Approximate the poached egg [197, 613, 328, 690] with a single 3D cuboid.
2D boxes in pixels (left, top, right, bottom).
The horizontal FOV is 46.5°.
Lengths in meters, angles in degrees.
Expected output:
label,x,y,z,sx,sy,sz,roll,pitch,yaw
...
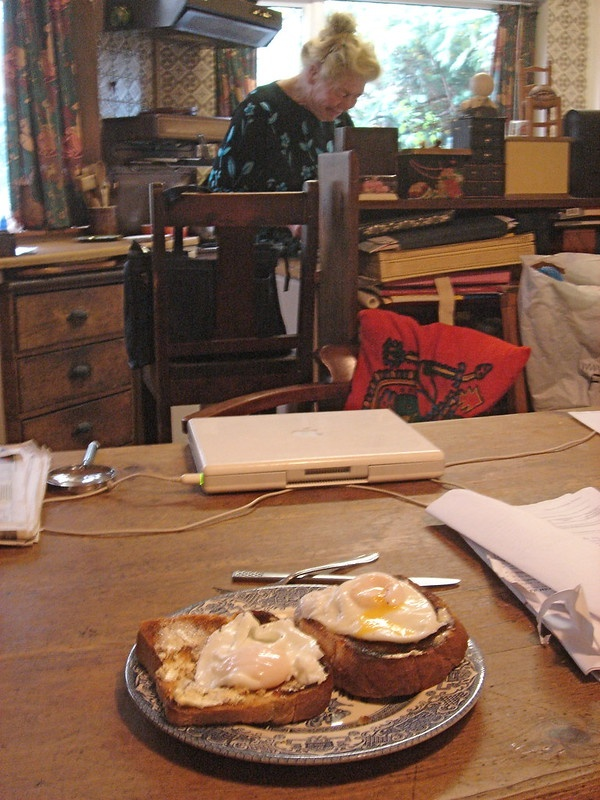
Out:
label,x,y,z,sx,sy,sz,roll,pitch,yaw
poached egg,-0.026,0.139,0.423,0.068,0.027,0.056,-4,14,-27
